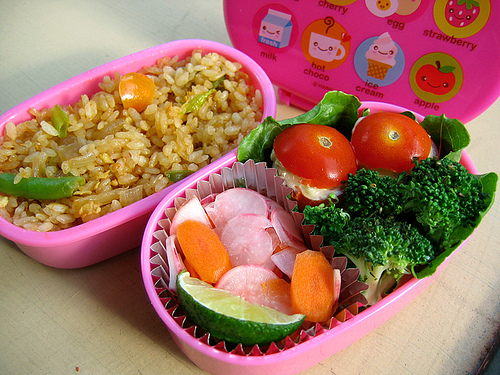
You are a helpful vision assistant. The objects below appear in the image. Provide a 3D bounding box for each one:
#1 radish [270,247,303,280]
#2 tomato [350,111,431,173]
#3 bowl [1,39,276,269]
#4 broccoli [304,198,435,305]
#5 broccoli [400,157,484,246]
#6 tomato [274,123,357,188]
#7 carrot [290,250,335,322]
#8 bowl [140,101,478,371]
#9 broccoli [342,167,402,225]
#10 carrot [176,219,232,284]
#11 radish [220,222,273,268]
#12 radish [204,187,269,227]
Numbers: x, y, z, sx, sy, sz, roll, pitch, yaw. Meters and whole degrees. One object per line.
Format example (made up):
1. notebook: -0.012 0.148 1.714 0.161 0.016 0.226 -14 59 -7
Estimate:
1. radish: 0.144 0.284 1.901 0.097 0.103 0.082 24 32 7
2. tomato: 0.587 -0.188 2.000 0.251 0.153 0.269 -34 70 -6
3. bowl: -0.484 -0.221 2.234 1.274 0.414 0.920 -32 68 -17
4. broccoli: 0.464 0.209 1.845 0.276 0.402 0.392 -47 58 1
5. broccoli: 0.770 0.042 1.941 0.300 0.332 0.232 6 26 12
6. tomato: 0.296 -0.173 1.998 0.221 0.249 0.359 -12 23 -38
7. carrot: 0.234 0.366 1.818 0.141 0.222 0.237 6 24 12
8. bowl: 0.236 0.400 1.770 1.254 0.273 0.786 -36 67 -19
9. broccoli: 0.472 0.021 1.991 0.164 0.185 0.305 10 33 17
10. carrot: -0.181 0.237 1.853 0.152 0.058 0.260 -21 70 -17
11. radish: -0.004 0.188 1.978 0.192 0.149 0.257 -20 21 -37
12. radish: -0.059 0.070 2.018 0.210 0.153 0.176 1 23 8
